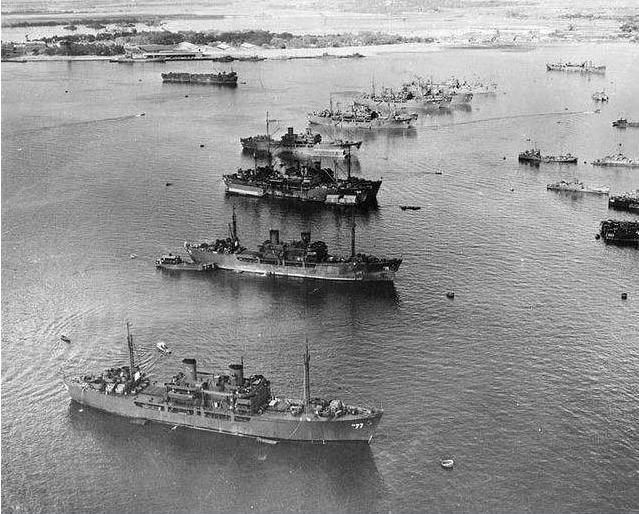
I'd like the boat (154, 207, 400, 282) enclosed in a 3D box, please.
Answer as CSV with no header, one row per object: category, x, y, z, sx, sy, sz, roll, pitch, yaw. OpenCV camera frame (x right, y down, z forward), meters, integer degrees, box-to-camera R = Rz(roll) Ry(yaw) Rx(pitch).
boat,-2.510,0.067,58.097,14.218,1.958,2.824,3,19,10

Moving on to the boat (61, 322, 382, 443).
boat,-4.491,6.401,41.153,13.579,3.412,1.413,4,18,13
